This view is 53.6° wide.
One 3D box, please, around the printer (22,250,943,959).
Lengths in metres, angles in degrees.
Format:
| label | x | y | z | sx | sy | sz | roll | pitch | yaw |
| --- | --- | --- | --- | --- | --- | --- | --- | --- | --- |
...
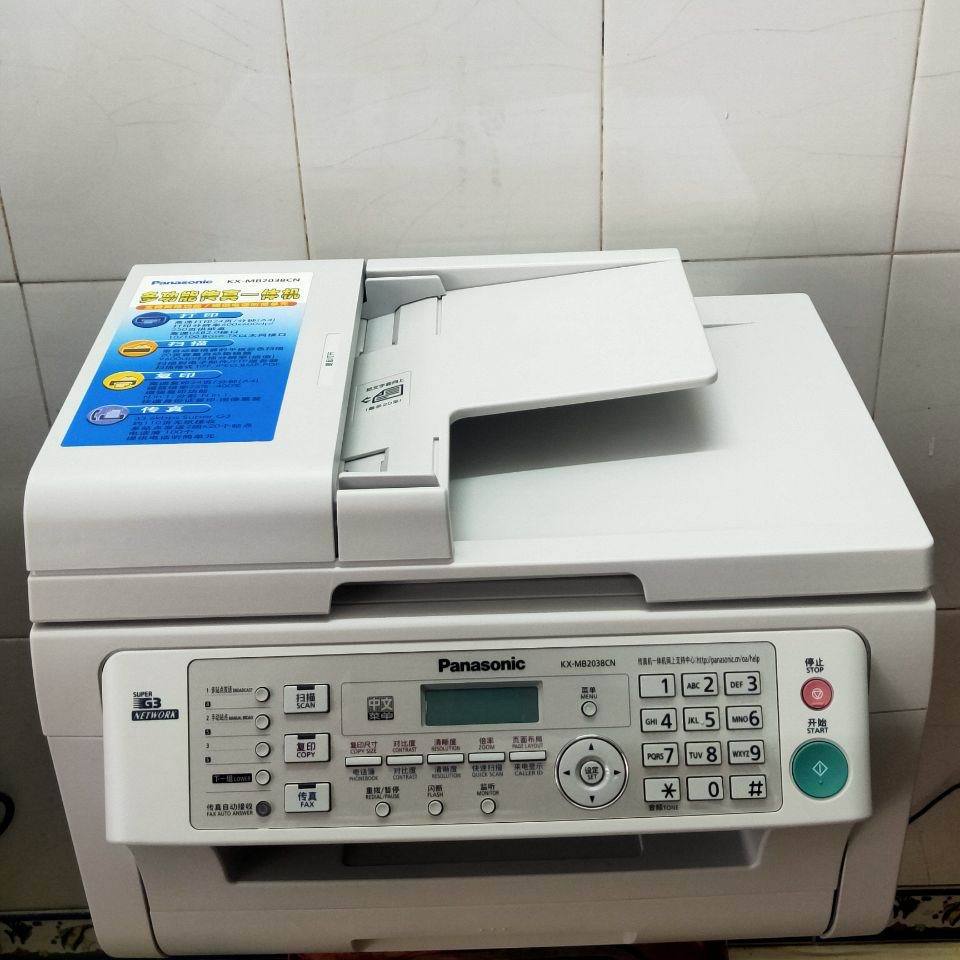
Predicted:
| label | x | y | z | sx | sy | sz | roll | pitch | yaw |
| --- | --- | --- | --- | --- | --- | --- | --- | --- | --- |
| printer | 0.022 | 0.165 | 0.971 | 0.722 | 0.561 | 0.498 | -2 | -40 | 2 |
